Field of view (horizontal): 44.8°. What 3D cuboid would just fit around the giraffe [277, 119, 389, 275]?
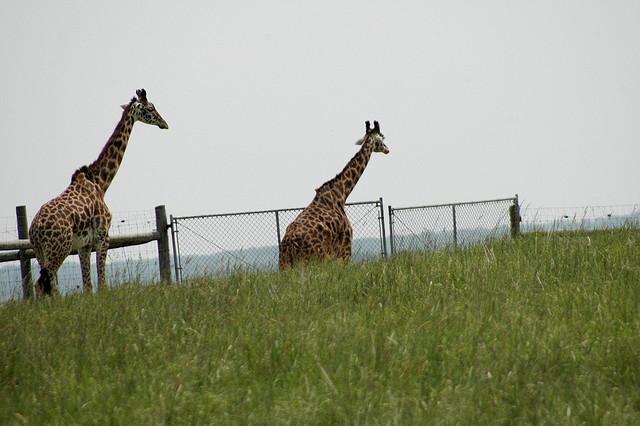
[{"bbox_3d":[0.166,-0.342,13.007,0.976,2.160,2.954,3,9,27],"label":"giraffe"}]

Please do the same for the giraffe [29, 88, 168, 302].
[{"bbox_3d":[-3.491,-0.262,11.551,0.733,2.619,2.373,1,8,16],"label":"giraffe"}]

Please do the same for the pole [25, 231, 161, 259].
[{"bbox_3d":[-3.859,0.594,12.308,2.738,0.359,0.329,-5,-45,14],"label":"pole"}]

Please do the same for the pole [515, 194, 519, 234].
[{"bbox_3d":[4.413,0.081,17.336,0.090,0.784,0.163,1,6,16],"label":"pole"}]
